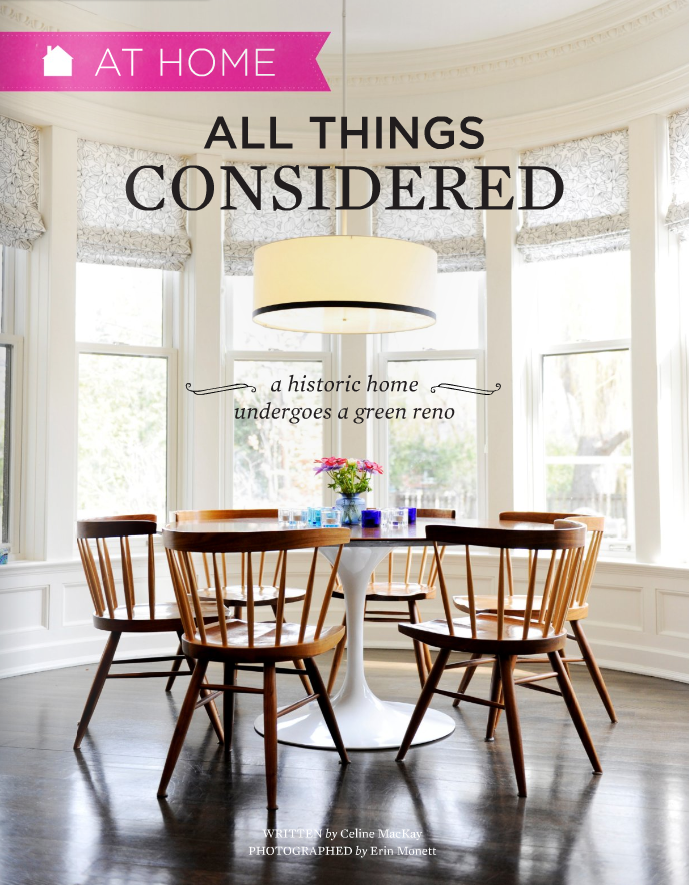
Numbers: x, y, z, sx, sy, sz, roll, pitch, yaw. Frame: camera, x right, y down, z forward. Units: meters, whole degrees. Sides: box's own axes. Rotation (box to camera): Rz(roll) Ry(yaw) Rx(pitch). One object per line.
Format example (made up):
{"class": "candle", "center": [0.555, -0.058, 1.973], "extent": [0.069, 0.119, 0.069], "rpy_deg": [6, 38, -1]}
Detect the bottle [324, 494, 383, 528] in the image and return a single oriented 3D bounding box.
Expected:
{"class": "bottle", "center": [0.016, 0.268, 3.181], "extent": [0.137, 0.093, 0.138], "rpy_deg": [2, 0, 0]}

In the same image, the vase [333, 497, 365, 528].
{"class": "vase", "center": [-0.006, 0.270, 3.238], "extent": [0.107, 0.104, 0.107], "rpy_deg": [7, -11, -43]}

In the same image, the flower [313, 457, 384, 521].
{"class": "flower", "center": [0.009, 0.167, 3.341], "extent": [0.280, 0.283, 0.245], "rpy_deg": [2, -4, -33]}
